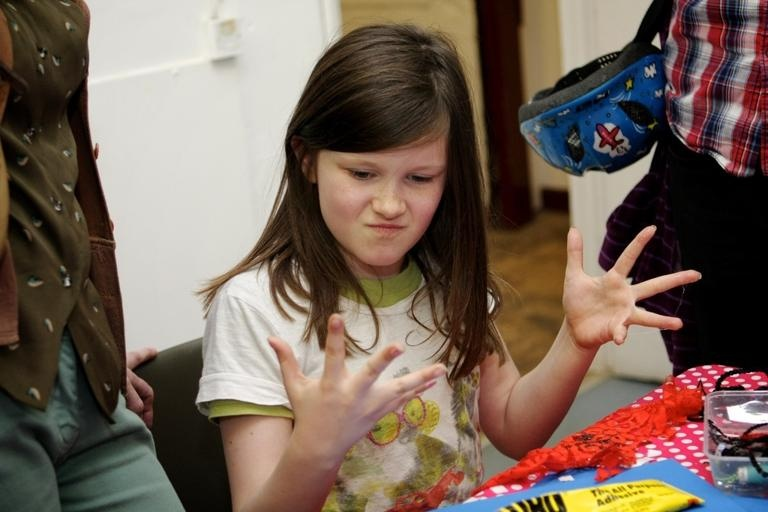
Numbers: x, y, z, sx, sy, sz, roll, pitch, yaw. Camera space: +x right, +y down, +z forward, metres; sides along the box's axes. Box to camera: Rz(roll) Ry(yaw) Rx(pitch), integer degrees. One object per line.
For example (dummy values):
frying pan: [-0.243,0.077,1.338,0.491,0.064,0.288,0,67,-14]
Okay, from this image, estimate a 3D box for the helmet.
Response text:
helmet: [0.469,-0.308,1.514,0.337,0.224,0.286,-26,15,-10]
